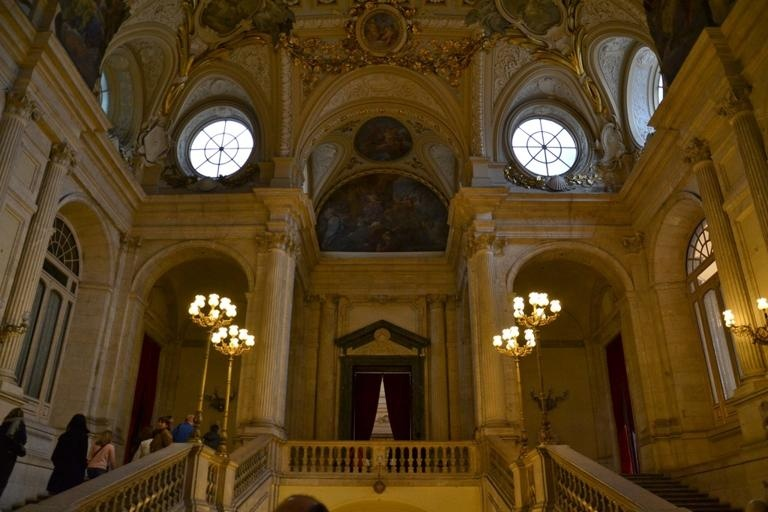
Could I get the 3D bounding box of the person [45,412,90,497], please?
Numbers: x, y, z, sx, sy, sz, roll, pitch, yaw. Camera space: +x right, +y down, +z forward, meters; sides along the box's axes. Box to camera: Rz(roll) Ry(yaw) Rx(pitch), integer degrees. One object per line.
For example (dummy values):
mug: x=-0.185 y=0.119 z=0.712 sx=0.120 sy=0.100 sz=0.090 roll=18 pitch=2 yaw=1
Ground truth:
person: x=-5.573 y=3.499 z=10.425 sx=0.676 sy=1.423 sz=0.600 roll=4 pitch=-25 yaw=-6

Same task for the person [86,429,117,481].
person: x=-5.453 y=3.839 z=11.401 sx=0.472 sy=0.969 sz=1.223 roll=12 pitch=-28 yaw=-23
